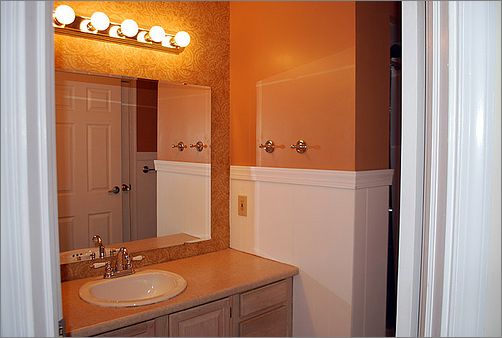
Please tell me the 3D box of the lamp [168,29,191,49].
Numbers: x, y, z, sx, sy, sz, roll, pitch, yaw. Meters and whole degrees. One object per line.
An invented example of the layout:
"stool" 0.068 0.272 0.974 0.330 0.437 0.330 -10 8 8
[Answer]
"lamp" -0.435 -0.797 2.321 0.099 0.099 0.100 3 12 -32

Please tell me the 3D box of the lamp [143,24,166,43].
"lamp" -0.570 -0.798 2.267 0.090 0.090 0.104 -37 -4 -30

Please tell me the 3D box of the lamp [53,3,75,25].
"lamp" -0.971 -0.808 1.972 0.099 0.097 0.074 -3 6 -20

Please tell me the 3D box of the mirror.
"mirror" -0.712 -0.013 2.193 1.229 1.234 0.138 -2 2 -40

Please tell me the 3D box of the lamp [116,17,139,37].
"lamp" -0.682 -0.795 2.143 0.092 0.106 0.091 -25 8 -42

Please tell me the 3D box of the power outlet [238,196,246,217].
"power outlet" -0.055 0.251 2.552 0.085 0.140 0.014 4 7 43

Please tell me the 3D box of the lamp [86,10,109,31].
"lamp" -0.821 -0.812 2.047 0.093 0.097 0.040 -3 6 -21
